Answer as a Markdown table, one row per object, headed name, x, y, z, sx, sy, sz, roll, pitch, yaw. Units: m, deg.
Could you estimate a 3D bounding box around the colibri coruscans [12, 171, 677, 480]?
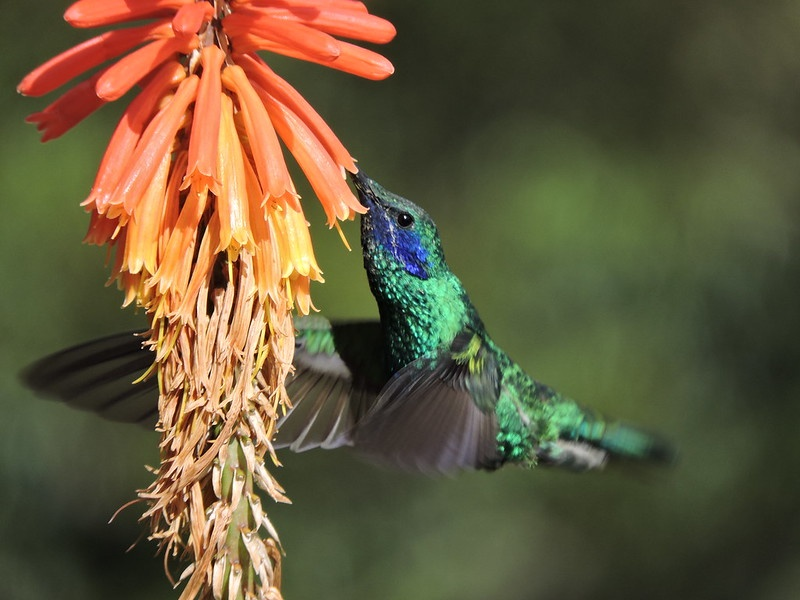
| name | x | y | z | sx | sy | sz | roll | pitch | yaw |
| --- | --- | --- | --- | --- | --- | --- | --- | --- | --- |
| colibri coruscans | -0.106 | 0.162 | 2.249 | 0.778 | 0.374 | 0.772 | 11 | -8 | -11 |
